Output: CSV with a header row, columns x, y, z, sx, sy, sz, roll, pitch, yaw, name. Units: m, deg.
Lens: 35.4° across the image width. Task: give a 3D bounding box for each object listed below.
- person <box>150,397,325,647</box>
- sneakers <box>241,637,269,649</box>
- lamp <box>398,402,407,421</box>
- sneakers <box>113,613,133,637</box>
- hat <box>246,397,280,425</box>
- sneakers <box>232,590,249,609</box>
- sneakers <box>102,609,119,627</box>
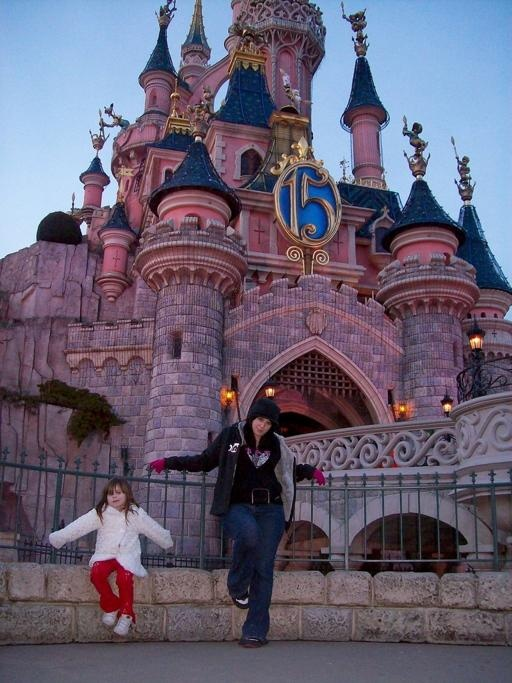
x,y,z,sx,sy,sz,roll,pitch,yaw,name
-0.136,0.988,4.426,0.681,1.301,0.541,2,-21,3,person
-0.005,1.632,4.388,0.162,0.059,0.072,5,14,3,sneakers
2.954,1.428,16.100,0.173,0.339,0.111,-1,-22,10,lamp
-0.745,1.613,4.546,0.079,0.078,0.198,12,-24,2,sneakers
0.052,0.368,4.498,0.151,0.125,0.166,9,-33,-2,hat
-0.085,1.432,4.437,0.089,0.100,0.115,0,-16,-5,sneakers
-0.813,1.557,4.503,0.063,0.053,0.119,4,-44,-6,sneakers
